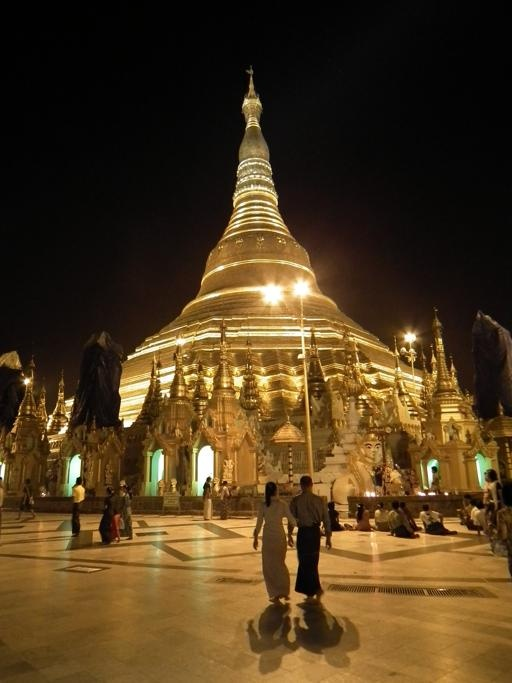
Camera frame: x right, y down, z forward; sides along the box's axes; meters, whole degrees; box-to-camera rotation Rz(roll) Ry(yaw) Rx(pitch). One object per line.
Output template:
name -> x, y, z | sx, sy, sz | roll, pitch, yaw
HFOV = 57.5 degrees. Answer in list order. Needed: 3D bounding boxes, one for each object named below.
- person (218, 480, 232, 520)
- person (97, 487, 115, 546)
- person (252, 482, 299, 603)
person -> -1.089, 5.569, 16.504 | 0.324, 1.260, 0.794 | 1, -14, -7
person -> -3.368, 3.946, 10.689 | 0.314, 1.187, 1.020 | 4, -15, -17
person -> 0.208, 2.145, 5.083 | 0.441, 1.157, 0.663 | -1, -14, 1
